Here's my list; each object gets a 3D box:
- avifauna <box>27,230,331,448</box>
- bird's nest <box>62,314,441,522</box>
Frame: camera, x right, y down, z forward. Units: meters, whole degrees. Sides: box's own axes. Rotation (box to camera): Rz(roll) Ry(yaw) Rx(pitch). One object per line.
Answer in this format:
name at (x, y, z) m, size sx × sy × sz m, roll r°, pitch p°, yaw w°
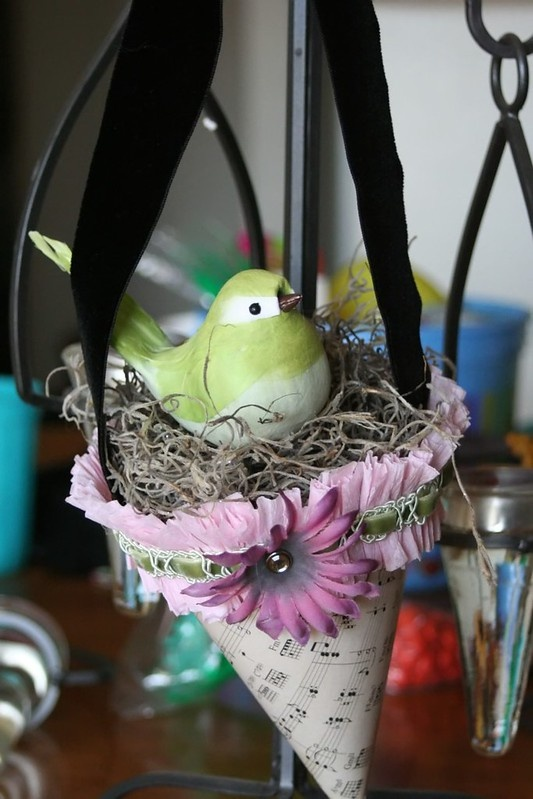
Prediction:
avifauna at (-0.032, -0.024, 0.320) m, size 0.126 × 0.060 × 0.055 m, roll 14°, pitch 37°, yaw 26°
bird's nest at (-0.012, -0.006, 0.290) m, size 0.090 × 0.018 × 0.096 m, roll -27°, pitch 21°, yaw -20°
